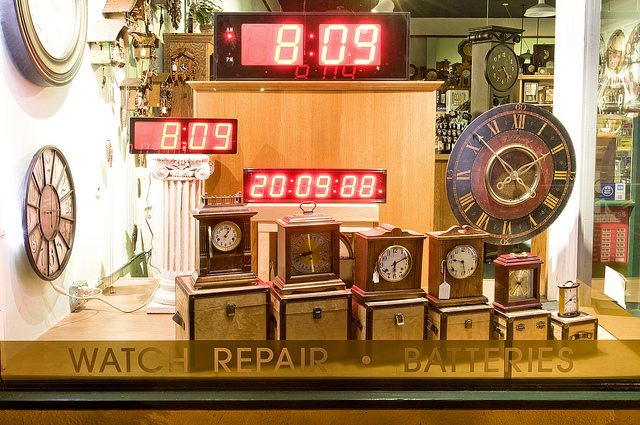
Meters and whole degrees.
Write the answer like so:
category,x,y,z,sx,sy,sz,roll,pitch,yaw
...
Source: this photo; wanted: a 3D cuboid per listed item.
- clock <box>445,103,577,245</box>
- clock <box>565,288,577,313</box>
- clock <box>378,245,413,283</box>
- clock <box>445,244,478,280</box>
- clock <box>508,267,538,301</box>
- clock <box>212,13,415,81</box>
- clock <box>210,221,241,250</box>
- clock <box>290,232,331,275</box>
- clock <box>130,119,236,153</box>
category,x,y,z,sx,sy,sz,roll,pitch,yaw
clock,1.254,-0.232,5.522,0.902,1.068,0.161,1,-3,11
clock,1.571,0.543,5.382,0.073,0.141,0.066,2,6,13
clock,0.462,0.305,5.395,0.226,0.228,0.033,-2,5,-11
clock,0.882,0.295,5.426,0.216,0.218,0.022,-2,4,-10
clock,1.275,0.440,5.443,0.215,0.208,0.069,0,0,-12
clock,-0.067,-1.241,6.389,1.486,0.508,0.051,0,-9,3
clock,-0.607,0.130,5.412,0.176,0.178,0.030,1,0,-10
clock,-0.073,0.241,5.397,0.269,0.271,0.026,0,5,-10
clock,-0.969,-0.550,6.099,0.774,0.293,0.023,1,-15,1
